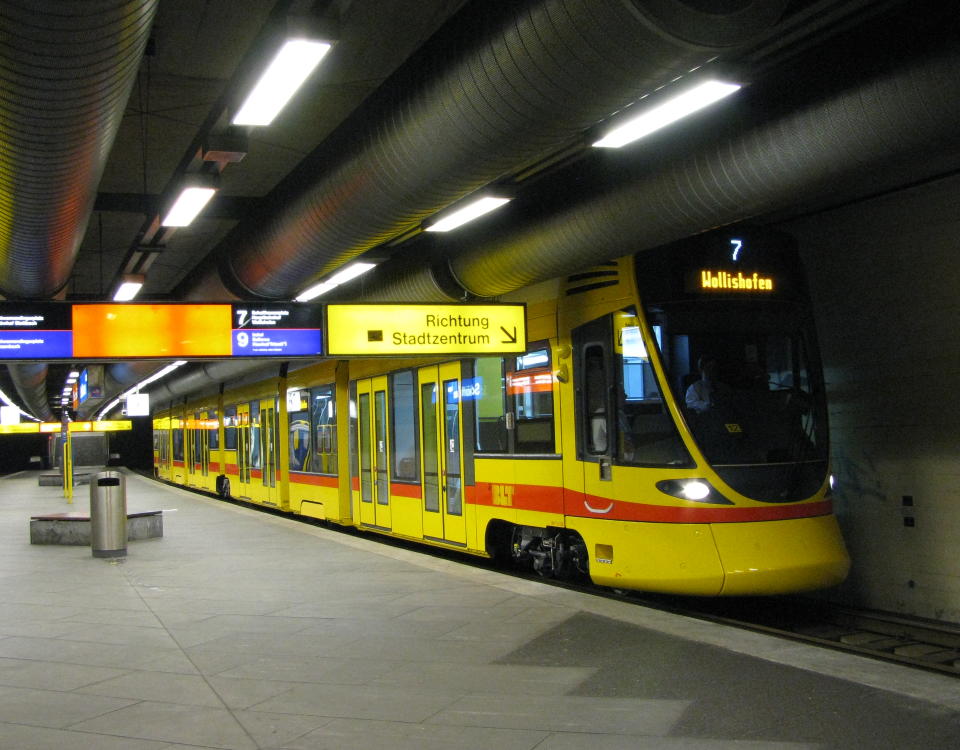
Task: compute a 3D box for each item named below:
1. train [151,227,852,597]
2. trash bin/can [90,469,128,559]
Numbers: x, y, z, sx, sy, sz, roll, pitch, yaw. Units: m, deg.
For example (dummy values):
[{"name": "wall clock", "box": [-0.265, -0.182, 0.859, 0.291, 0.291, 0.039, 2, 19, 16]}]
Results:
[{"name": "train", "box": [-0.872, 1.221, 14.328, 3.372, 3.751, 15.191, 0, -6, -27]}, {"name": "trash bin/can", "box": [-5.965, 2.228, 11.905, 0.508, 1.357, 0.626, 0, -4, -28]}]
